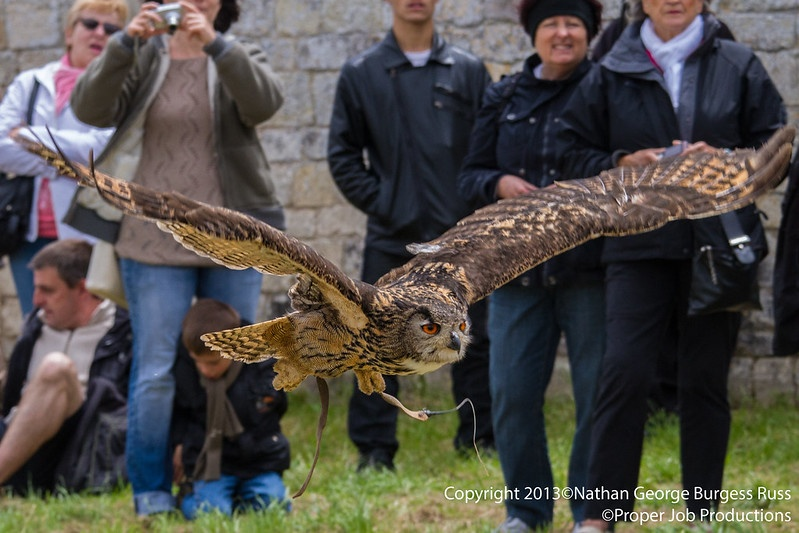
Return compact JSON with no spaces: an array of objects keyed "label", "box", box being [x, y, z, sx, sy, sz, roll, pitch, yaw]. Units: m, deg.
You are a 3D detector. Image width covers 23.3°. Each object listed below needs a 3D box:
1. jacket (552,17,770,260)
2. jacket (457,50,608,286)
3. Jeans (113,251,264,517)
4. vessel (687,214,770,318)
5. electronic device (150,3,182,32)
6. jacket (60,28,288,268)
[{"label":"jacket","box":[1.765,-0.867,13.168,1.962,1.602,0.949,-2,1,6]},{"label":"jacket","box":[0.988,-0.717,13.799,1.275,1.471,0.468,9,16,27]},{"label":"Jeans","box":[-1.551,0.851,13.554,1.124,1.657,0.423,0,12,-25]},{"label":"vessel","box":[2.197,-0.049,12.992,0.549,0.655,0.307,-2,-1,-2]},{"label":"electronic device","box":[-1.573,-1.748,13.349,0.170,0.194,0.068,4,10,0]},{"label":"jacket","box":[-1.561,-0.824,13.406,1.883,1.679,1.046,0,-14,-1]}]
